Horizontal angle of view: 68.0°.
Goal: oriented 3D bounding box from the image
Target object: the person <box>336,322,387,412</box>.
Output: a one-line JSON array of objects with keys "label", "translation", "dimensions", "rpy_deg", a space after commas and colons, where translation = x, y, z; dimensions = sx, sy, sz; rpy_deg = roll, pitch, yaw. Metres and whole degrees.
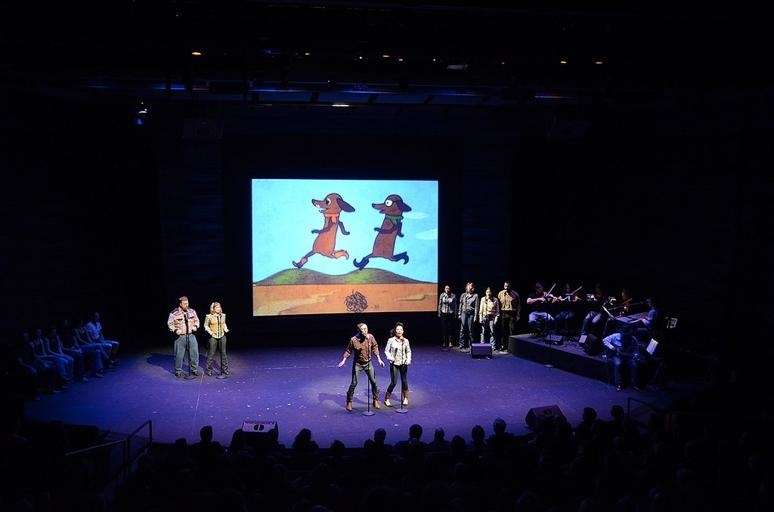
[{"label": "person", "translation": [-0.603, 2.540, 13.134], "dimensions": [1.178, 1.876, 0.556], "rpy_deg": [-1, -6, 4]}]

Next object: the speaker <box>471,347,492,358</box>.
[{"label": "speaker", "translation": [2.835, 2.850, 17.117], "dimensions": [0.714, 0.332, 0.447], "rpy_deg": [2, -2, 1]}]

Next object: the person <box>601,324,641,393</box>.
[{"label": "person", "translation": [5.910, 2.528, 14.355], "dimensions": [0.700, 1.472, 0.838], "rpy_deg": [-3, 6, -37]}]

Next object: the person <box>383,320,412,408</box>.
[{"label": "person", "translation": [0.265, 2.536, 13.382], "dimensions": [0.752, 1.838, 0.703], "rpy_deg": [0, -3, 0]}]

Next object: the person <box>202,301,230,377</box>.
[{"label": "person", "translation": [-4.543, 2.231, 15.476], "dimensions": [0.696, 1.908, 0.724], "rpy_deg": [-1, 0, -35]}]
